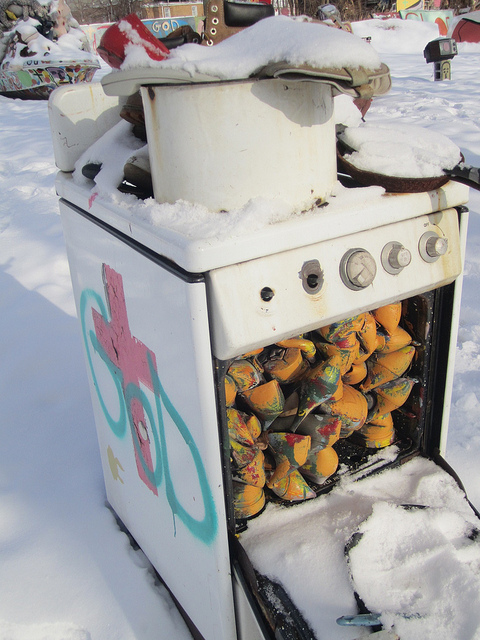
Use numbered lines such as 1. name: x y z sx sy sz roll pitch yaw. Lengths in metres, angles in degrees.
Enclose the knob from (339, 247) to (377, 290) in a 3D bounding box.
1. knob: 0.201 -0.093 0.931 0.070 0.070 0.019 -54 28 -17
